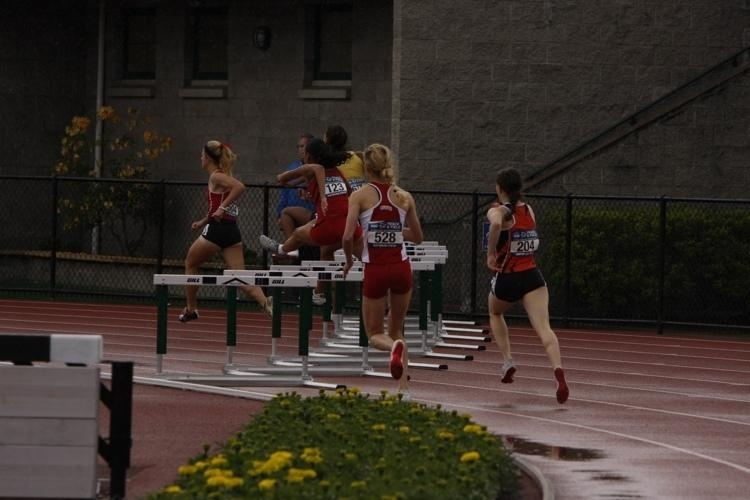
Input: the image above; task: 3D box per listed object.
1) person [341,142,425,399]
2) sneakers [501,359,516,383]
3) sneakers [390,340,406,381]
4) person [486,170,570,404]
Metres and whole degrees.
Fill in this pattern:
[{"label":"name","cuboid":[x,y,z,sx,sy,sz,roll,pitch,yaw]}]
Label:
[{"label":"person","cuboid":[0.140,0.198,12.057,0.924,2.821,0.856,2,9,3]},{"label":"sneakers","cuboid":[1.837,1.588,12.999,0.166,0.182,0.421,0,-30,2]},{"label":"sneakers","cuboid":[0.339,1.284,11.899,0.176,0.443,0.172,0,-4,-2]},{"label":"person","cuboid":[1.997,0.453,12.563,1.189,2.821,0.709,7,11,30]}]
